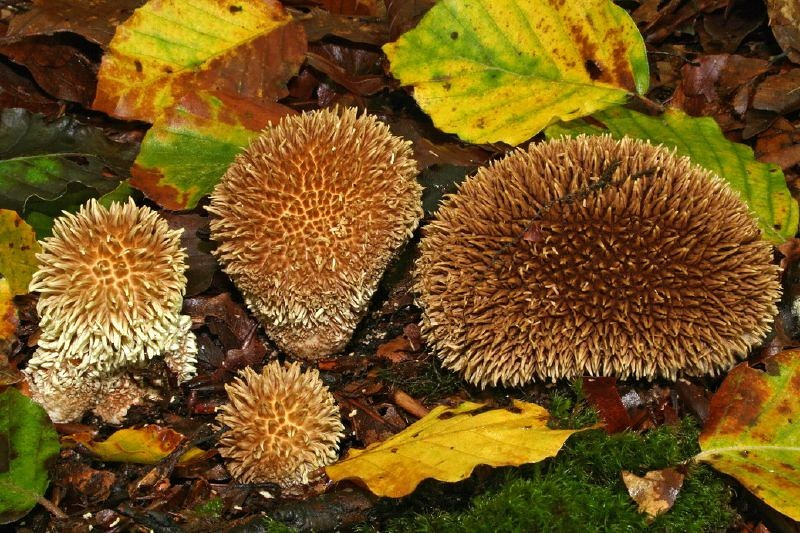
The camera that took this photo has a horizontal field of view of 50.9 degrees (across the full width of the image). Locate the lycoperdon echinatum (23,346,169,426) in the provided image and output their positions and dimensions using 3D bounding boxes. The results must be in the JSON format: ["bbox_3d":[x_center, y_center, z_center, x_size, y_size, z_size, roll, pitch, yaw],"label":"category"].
[{"bbox_3d":[-1.731,0.704,4.768,0.789,0.397,0.200,3,34,-15],"label":"lycoperdon echinatum"}]
